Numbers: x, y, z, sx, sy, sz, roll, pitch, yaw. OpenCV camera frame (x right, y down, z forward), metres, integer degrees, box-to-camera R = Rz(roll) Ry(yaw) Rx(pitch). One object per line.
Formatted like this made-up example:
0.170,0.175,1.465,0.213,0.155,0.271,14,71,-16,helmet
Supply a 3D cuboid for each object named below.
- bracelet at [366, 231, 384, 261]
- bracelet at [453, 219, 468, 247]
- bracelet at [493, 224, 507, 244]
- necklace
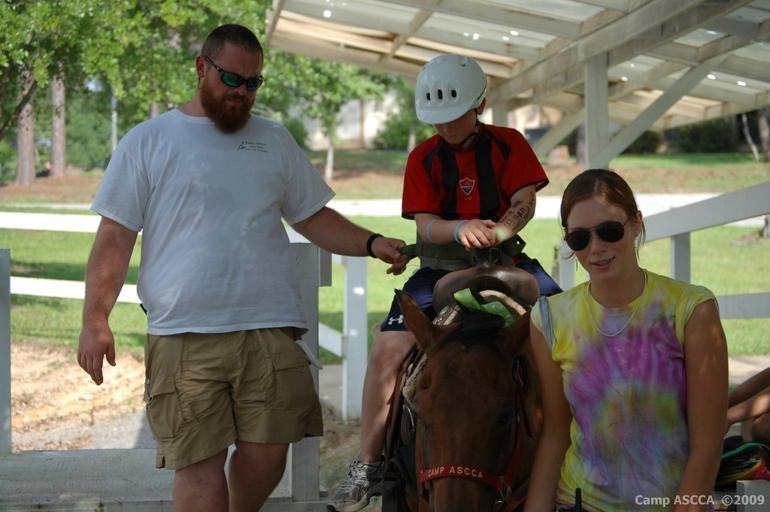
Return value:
-0.111,-0.127,11.079,0.072,0.219,0.180,0,14,16,bracelet
0.696,-0.222,10.780,0.182,0.162,0.197,-2,-14,-2,bracelet
1.074,-0.215,10.753,0.087,0.160,0.185,2,2,25,bracelet
2.095,0.395,10.155,0.382,0.600,0.136,5,4,19,necklace
